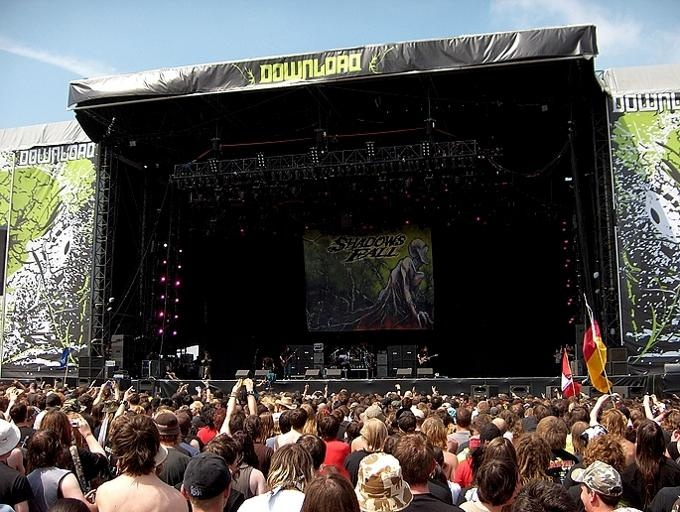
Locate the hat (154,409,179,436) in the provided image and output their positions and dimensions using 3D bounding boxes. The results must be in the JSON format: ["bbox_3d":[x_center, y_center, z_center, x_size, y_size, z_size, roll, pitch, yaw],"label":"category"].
[{"bbox_3d":[-2.019,1.911,7.695,0.297,0.173,0.224,4,2,44],"label":"hat"}]

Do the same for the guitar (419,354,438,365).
[{"bbox_3d":[3.823,4.441,28.967,0.704,0.365,0.309,-4,-27,-44],"label":"guitar"}]

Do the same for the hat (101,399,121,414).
[{"bbox_3d":[-2.970,1.958,8.663,0.188,0.154,0.427,1,-8,-19],"label":"hat"}]

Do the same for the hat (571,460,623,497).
[{"bbox_3d":[2.434,2.027,6.245,0.315,0.236,0.451,-10,21,-44],"label":"hat"}]

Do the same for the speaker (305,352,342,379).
[{"bbox_3d":[-0.654,4.377,26.052,1.381,0.750,0.946,0,-17,11],"label":"speaker"}]

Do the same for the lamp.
[{"bbox_3d":[-0.629,-4.701,22.527,5.071,1.075,2.411,-4,-17,11],"label":"lamp"}]

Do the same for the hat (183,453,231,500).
[{"bbox_3d":[-1.199,1.977,5.997,0.397,0.390,0.174,0,-8,-12],"label":"hat"}]

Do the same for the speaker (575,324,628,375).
[{"bbox_3d":[7.823,2.906,19.663,1.379,1.906,1.152,-1,-4,8],"label":"speaker"}]

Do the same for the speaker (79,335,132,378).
[{"bbox_3d":[-7.791,3.367,22.302,1.723,1.811,1.150,7,-13,-39],"label":"speaker"}]
